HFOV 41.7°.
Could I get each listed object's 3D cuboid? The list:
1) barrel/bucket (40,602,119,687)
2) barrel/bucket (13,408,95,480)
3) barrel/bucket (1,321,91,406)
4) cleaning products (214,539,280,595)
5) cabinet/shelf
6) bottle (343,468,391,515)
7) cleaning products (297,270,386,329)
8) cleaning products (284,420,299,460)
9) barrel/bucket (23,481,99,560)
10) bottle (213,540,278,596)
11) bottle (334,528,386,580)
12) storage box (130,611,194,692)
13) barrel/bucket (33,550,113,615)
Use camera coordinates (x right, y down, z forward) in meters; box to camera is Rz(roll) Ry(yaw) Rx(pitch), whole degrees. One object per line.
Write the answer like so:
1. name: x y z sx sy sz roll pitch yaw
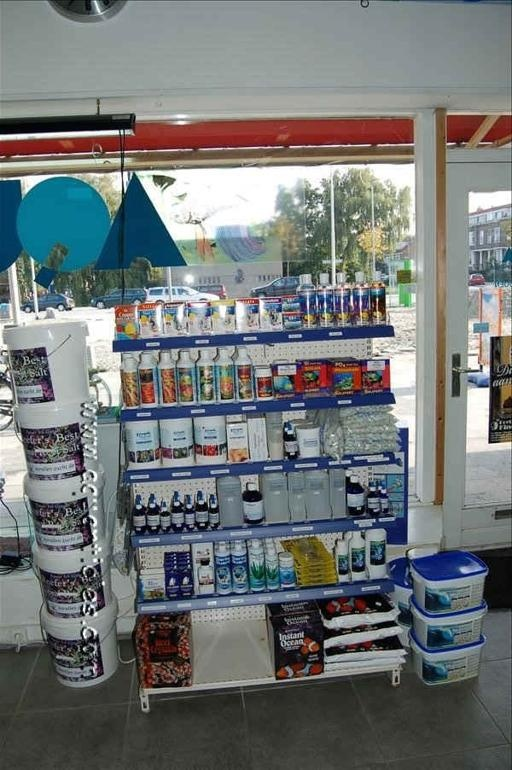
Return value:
1. barrel/bucket: -0.800 1.191 3.195 0.369 0.357 0.362 -2 8 0
2. barrel/bucket: -0.824 0.205 2.895 0.305 0.324 0.313 -1 6 0
3. barrel/bucket: -0.837 -0.119 2.865 0.342 0.357 0.365 -1 13 0
4. cleaning products: -0.042 0.825 3.029 0.265 0.342 0.124 -1 0 -9
5. cabinet/shelf: 0.018 0.506 3.030 1.226 1.593 0.544 -5 8 -5
6. bottle: 0.510 0.497 3.128 0.251 0.216 0.093 -1 -1 -21
7. cleaning products: 0.369 -0.350 2.923 0.374 0.187 0.074 -2 12 4
8. cleaning products: 0.150 0.248 3.004 0.064 0.148 0.091 -6 12 -14
9. barrel/bucket: -0.822 0.548 2.894 0.319 0.290 0.306 -1 3 0
10. bottle: -0.045 0.829 3.028 0.261 0.326 0.118 -1 1 -11
11. bottle: 0.479 0.779 3.078 0.234 0.305 0.098 -3 6 -23
12. storage box: -0.405 1.105 2.985 0.248 0.330 0.334 -2 3 -2
13. barrel/bucket: -0.826 0.837 3.078 0.312 0.276 0.312 -1 2 0
